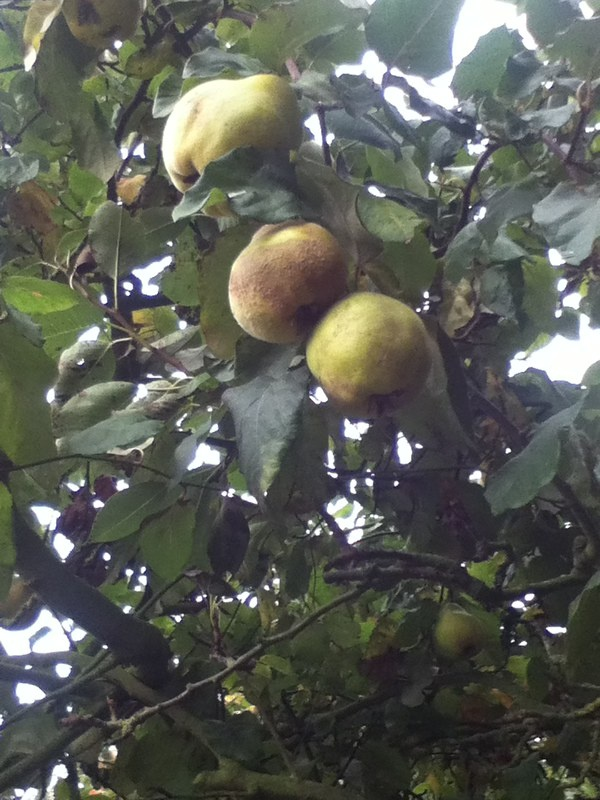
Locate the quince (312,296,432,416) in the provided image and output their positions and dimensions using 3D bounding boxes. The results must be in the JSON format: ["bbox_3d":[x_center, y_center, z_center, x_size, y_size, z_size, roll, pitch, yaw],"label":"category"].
[{"bbox_3d":[0.081,-0.058,1.142,0.131,0.116,0.127,-16,12,-17],"label":"quince"}]
